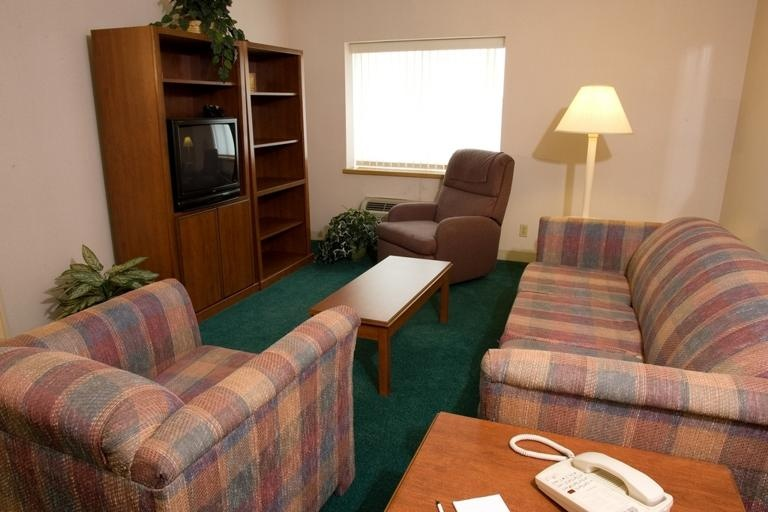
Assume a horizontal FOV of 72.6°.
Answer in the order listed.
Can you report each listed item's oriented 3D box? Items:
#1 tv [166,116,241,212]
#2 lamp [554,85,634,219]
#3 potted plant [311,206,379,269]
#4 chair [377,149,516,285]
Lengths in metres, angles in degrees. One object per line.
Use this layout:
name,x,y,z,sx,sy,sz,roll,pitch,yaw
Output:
tv,-1.396,-0.708,3.998,0.353,0.641,0.672,5,17,22
lamp,1.800,-0.872,4.662,0.647,1.235,1.062,9,20,22
potted plant,-0.386,-0.198,5.425,0.575,0.430,0.566,-13,9,-38
chair,0.564,-0.501,5.380,1.447,1.483,1.062,-10,16,-31
